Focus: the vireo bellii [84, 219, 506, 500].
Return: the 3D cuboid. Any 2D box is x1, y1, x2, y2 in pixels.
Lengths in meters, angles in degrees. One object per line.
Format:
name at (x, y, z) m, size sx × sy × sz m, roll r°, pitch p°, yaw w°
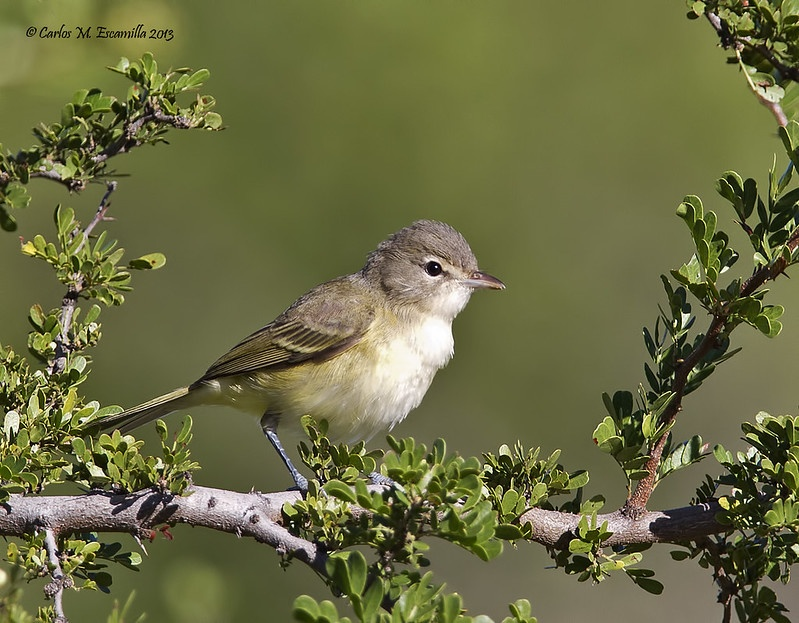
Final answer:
vireo bellii at (-0.811, 0.269, 7.081) m, size 3.318 × 1.138 × 1.971 m, roll 2°, pitch -104°, yaw 6°
